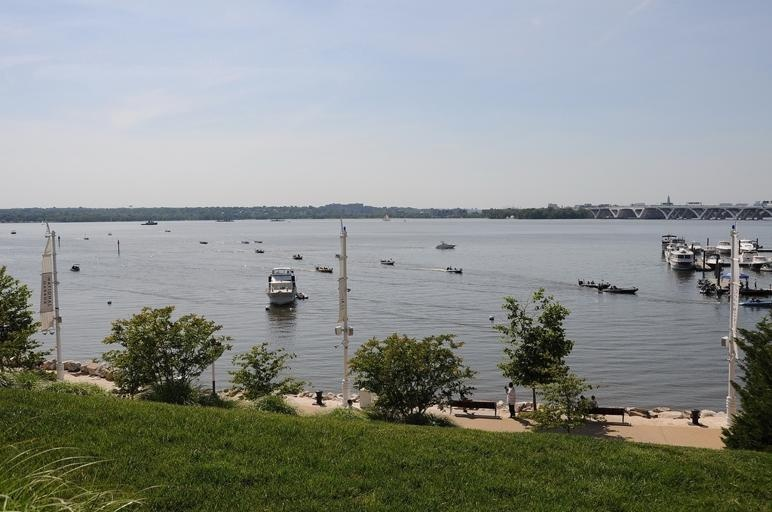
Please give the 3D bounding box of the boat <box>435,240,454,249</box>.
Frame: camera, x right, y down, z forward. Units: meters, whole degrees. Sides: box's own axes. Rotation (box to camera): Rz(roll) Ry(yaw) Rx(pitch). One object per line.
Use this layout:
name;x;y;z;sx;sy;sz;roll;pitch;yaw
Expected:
boat;12.082;-2.103;206.789;2.856;1.032;2.919;1;2;-12

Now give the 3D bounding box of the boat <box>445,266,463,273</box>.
boat;10.059;1.905;149.355;2.301;0.856;1.078;0;6;19

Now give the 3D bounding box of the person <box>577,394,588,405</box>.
person;13.470;9.825;68.743;1.017;0.705;0.972;0;-1;1
